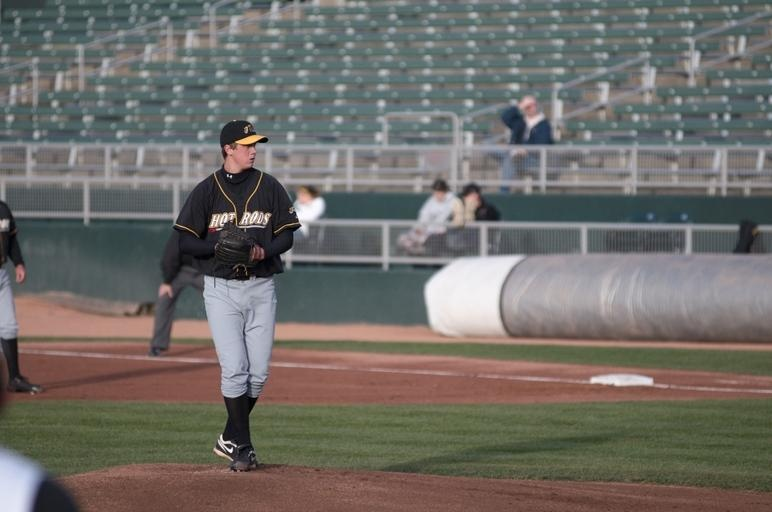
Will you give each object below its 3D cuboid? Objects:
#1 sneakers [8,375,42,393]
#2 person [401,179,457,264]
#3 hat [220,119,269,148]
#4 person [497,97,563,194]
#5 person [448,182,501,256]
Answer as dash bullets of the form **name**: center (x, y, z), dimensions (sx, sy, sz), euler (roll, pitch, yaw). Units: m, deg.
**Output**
- **sneakers**: center (-5.828, 2.083, 33.488), dimensions (0.513, 0.196, 0.254), euler (0, 2, 3)
- **person**: center (0.779, -0.738, 37.518), dimensions (1.035, 1.383, 0.288), euler (0, 2, 5)
- **hat**: center (-2.158, -1.931, 31.583), dimensions (0.651, 0.280, 0.399), euler (0, 4, 9)
- **person**: center (2.647, -2.166, 38.827), dimensions (0.975, 1.833, 1.287), euler (0, 2, 4)
- **person**: center (1.553, -0.728, 37.512), dimensions (1.092, 1.199, 0.475), euler (5, -11, -11)
